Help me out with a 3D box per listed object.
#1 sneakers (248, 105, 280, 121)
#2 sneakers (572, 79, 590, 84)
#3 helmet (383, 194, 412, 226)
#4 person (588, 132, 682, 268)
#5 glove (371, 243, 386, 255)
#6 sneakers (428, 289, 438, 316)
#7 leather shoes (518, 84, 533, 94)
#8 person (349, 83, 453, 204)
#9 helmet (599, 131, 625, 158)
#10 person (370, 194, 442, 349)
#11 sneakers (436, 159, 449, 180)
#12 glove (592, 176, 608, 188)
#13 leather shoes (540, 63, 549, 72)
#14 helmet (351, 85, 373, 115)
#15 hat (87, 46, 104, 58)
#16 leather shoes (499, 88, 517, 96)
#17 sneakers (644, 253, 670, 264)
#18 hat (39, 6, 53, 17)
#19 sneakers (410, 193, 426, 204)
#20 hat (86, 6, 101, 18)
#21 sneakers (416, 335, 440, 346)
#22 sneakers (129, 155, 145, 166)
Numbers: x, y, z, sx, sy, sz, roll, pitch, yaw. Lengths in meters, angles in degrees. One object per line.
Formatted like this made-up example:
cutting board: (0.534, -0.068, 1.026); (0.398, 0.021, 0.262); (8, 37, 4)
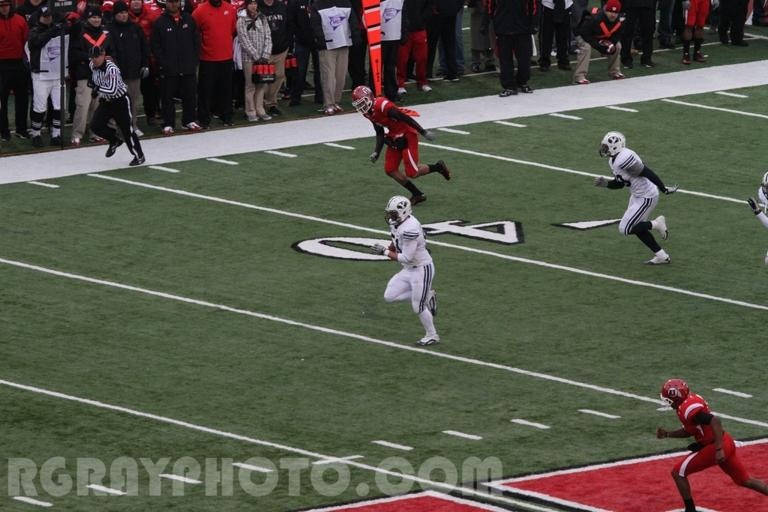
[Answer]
sneakers: (-2.205, -2.585, 28.525); (0.618, 0.194, 0.170); (-3, 36, -10)
sneakers: (3.847, -3.393, 30.367); (0.115, 0.079, 0.238); (-2, 4, -15)
helmet: (0.190, -0.593, 20.829); (0.313, 0.395, 0.313); (-3, 6, -5)
person: (3.714, -0.845, 22.973); (1.096, 1.945, 1.100); (-2, 6, 9)
glove: (-0.073, -0.082, 20.742); (0.169, 0.044, 0.144); (10, 17, -7)
sneakers: (0.653, 0.645, 20.990); (0.147, 0.314, 0.164); (2, 4, 1)
leather shoes: (2.668, -3.207, 29.884); (0.138, 0.111, 0.320); (-30, 26, -34)
person: (0.265, -1.732, 24.630); (1.349, 1.884, 1.281); (-2, 6, 4)
helmet: (3.355, -1.645, 22.933); (0.549, 0.365, 0.374); (2, 21, 9)
person: (0.320, 0.206, 20.990); (0.758, 2.021, 0.590); (-3, 6, 2)
sneakers: (0.953, -1.375, 25.062); (0.180, 0.124, 0.375); (-23, -31, 14)
glove: (3.178, -1.088, 22.873); (0.225, 0.105, 0.180); (-11, -9, 14)
leather shoes: (3.221, -3.784, 31.351); (0.185, 0.122, 0.138); (9, -8, -32)
helmet: (-0.326, -2.433, 24.494); (0.301, 0.439, 0.501); (-3, 6, -2)
hat: (-4.792, -3.363, 25.832); (0.238, 0.250, 0.212); (5, -39, 6)
leather shoes: (2.347, -3.111, 29.671); (0.357, 0.115, 0.124); (-8, -24, -12)
sneakers: (4.029, 0.042, 22.935); (0.428, 0.113, 0.149); (-1, -35, 12)
hat: (-5.705, -4.122, 26.295); (0.164, 0.151, 0.267); (-7, 7, -38)
sneakers: (0.557, -0.904, 24.832); (0.307, 0.110, 0.122); (-17, -1, -45)
hat: (-4.898, -4.141, 26.484); (0.229, 0.162, 0.299); (-16, 16, -32)
sneakers: (0.599, 1.157, 21.003); (0.364, 0.127, 0.109); (-6, 39, -5)
sneakers: (-4.116, -1.595, 26.202); (0.318, 0.167, 0.236); (-5, 6, -28)
